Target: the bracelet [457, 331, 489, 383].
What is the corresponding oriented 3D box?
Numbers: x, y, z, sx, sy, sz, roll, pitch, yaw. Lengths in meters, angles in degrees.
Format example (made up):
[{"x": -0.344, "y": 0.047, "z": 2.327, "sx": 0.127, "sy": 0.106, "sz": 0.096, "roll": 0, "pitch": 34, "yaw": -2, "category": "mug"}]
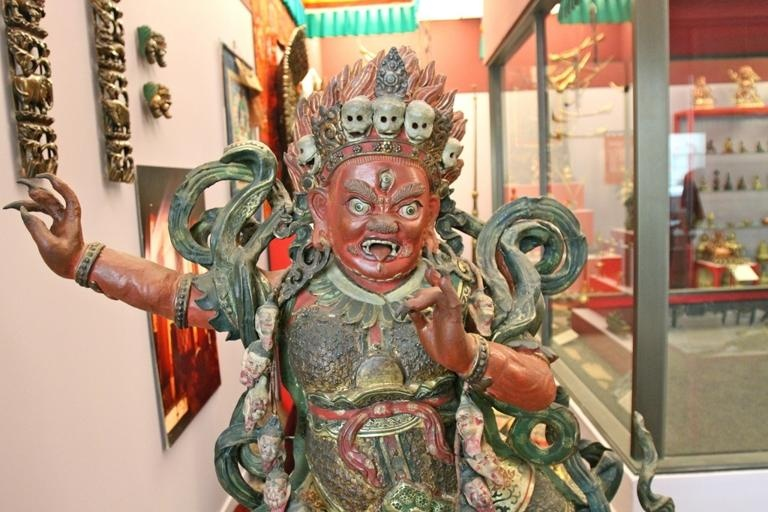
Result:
[{"x": 0.418, "y": 0.462, "z": 3.300, "sx": 0.063, "sy": 0.193, "sz": 0.166, "roll": 7, "pitch": 7, "yaw": 15, "category": "bracelet"}]
